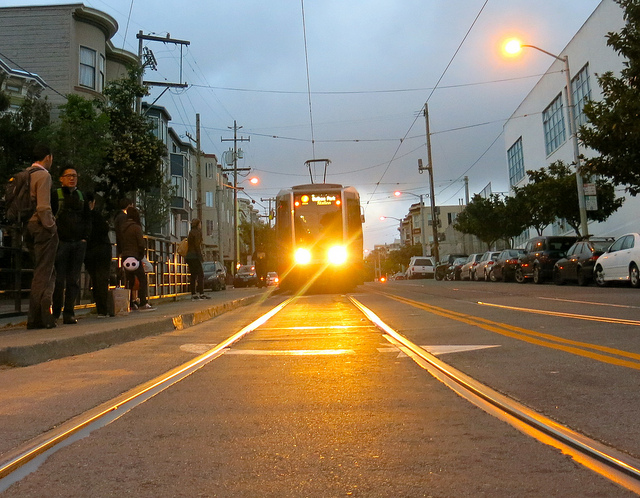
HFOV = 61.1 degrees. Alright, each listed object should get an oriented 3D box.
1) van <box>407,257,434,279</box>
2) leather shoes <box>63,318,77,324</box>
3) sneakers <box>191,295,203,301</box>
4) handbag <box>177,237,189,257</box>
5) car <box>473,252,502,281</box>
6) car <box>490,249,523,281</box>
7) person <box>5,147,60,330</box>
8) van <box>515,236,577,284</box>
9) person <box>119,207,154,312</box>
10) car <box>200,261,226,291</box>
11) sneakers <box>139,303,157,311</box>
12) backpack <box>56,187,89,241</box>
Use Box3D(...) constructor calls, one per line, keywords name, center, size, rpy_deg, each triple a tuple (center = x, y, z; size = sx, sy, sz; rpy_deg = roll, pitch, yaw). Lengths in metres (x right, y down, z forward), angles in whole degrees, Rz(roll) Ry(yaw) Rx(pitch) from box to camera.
Box3D(name="van", center=(9.769, 1.818, 53.355), size=(1.897, 2.137, 3.332), rpy_deg=(-1, -3, -22))
Box3D(name="leather shoes", center=(-4.110, 1.173, 8.968), size=(0.237, 0.128, 0.091), rpy_deg=(-6, -1, 7))
Box3D(name="sneakers", center=(-3.809, 1.517, 16.755), size=(0.316, 0.172, 0.128), rpy_deg=(-5, 2, 17))
Box3D(name="handbag", center=(-4.203, -0.042, 16.542), size=(0.288, 0.577, 1.428), rpy_deg=(-1, -3, -15))
Box3D(name="car", center=(9.311, 0.993, 30.229), size=(1.253, 1.423, 2.924), rpy_deg=(0, 2, 1))
Box3D(name="car", center=(9.354, 0.852, 27.227), size=(1.240, 1.357, 3.312), rpy_deg=(-1, 1, 1))
Box3D(name="person", center=(-4.200, -0.185, 8.032), size=(0.757, 2.714, 0.439), rpy_deg=(-3, -2, 29))
Box3D(name="van", center=(9.912, 0.405, 24.188), size=(1.411, 1.522, 2.736), rpy_deg=(0, 2, -3))
Box3D(name="person", center=(-4.065, 0.203, 11.987), size=(0.674, 2.295, 1.338), rpy_deg=(-1, -3, -16))
Box3D(name="car", center=(-6.569, 1.615, 32.748), size=(1.625, 1.544, 2.875), rpy_deg=(-2, -8, 1))
Box3D(name="sneakers", center=(-3.956, 1.327, 12.508), size=(0.381, 0.202, 0.155), rpy_deg=(-4, -1, 23))
Box3D(name="backpack", center=(-4.025, -0.564, 8.836), size=(0.581, 0.890, 0.276), rpy_deg=(0, -3, -45))
